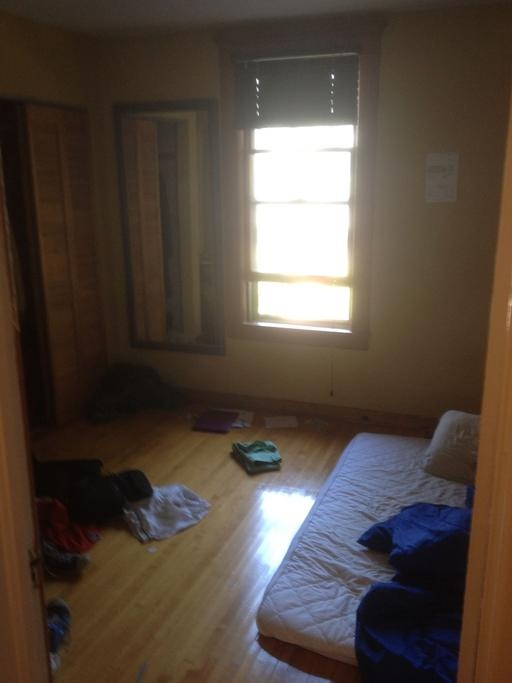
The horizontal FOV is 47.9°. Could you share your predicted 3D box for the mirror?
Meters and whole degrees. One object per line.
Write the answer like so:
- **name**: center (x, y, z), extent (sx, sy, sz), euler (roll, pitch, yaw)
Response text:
- **mirror**: center (-0.571, -0.729, 3.911), extent (0.765, 1.695, 0.059), euler (6, 15, 20)
